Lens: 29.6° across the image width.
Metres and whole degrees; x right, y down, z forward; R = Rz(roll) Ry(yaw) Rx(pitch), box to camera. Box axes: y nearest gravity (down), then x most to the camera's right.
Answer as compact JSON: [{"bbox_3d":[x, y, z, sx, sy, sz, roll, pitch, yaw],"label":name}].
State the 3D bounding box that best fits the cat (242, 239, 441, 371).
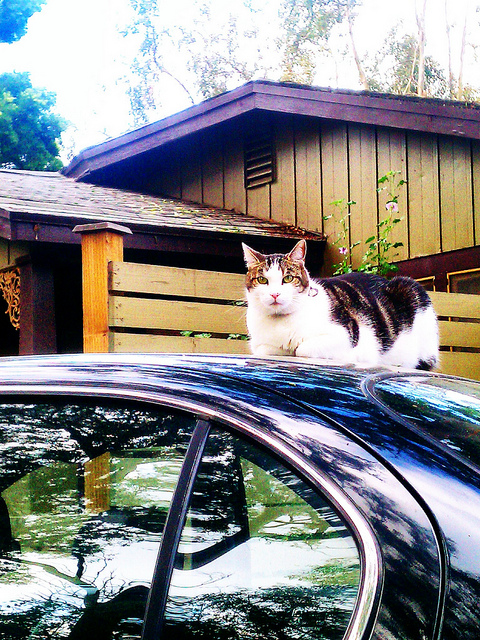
[{"bbox_3d":[0.602,0.002,4.846,1.445,0.690,0.506,3,-9,-44],"label":"cat"}]
